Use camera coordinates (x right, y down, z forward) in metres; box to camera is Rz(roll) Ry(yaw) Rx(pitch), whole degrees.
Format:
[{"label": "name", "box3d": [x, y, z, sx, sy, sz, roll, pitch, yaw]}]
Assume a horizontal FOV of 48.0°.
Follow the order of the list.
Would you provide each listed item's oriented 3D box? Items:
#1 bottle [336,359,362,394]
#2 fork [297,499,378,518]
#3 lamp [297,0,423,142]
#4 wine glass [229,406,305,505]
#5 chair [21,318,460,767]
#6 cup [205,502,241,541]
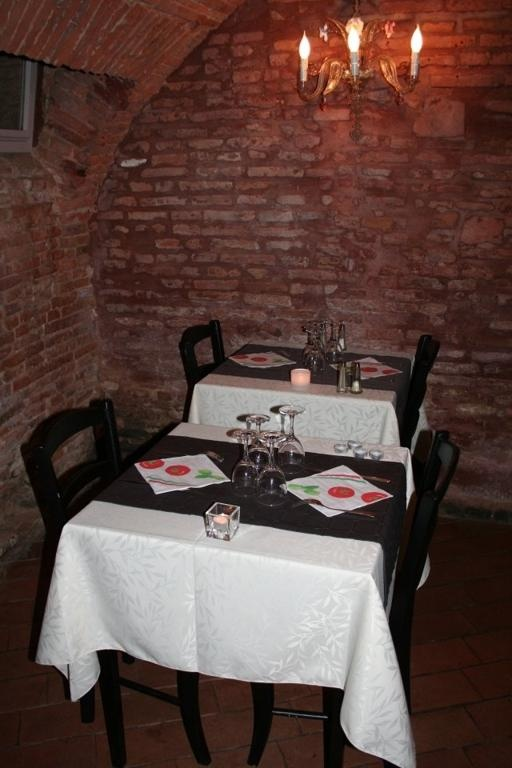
[{"label": "bottle", "box3d": [0.366, -0.022, 2.463, 0.121, 0.139, 0.128, 0, 0, -3]}, {"label": "fork", "box3d": [0.208, 0.313, 1.440, 0.224, 0.031, 0.061, 4, 16, 6]}, {"label": "lamp", "box3d": [0.505, -1.565, 2.956, 0.619, 0.907, 0.570, 6, 21, 20]}, {"label": "wine glass", "box3d": [0.039, 0.162, 1.626, 0.135, 0.197, 0.317, 2, 7, 10]}, {"label": "chair", "box3d": [0.060, 0.367, 2.280, 1.305, 1.032, 1.960, 4, 20, 13]}, {"label": "cup", "box3d": [-0.077, 0.309, 1.289, 0.070, 0.068, 0.071, 5, 2, 0]}]
